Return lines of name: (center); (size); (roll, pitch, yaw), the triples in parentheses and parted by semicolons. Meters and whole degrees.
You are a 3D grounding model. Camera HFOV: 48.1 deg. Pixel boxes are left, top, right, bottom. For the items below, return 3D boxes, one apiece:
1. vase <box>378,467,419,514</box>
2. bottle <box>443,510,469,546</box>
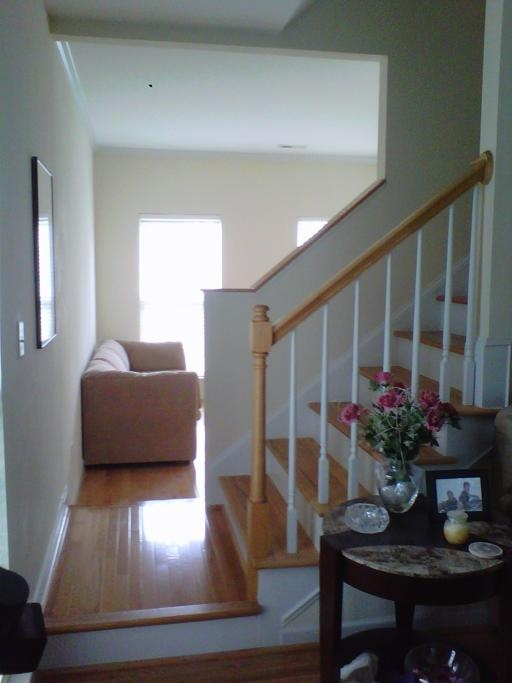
vase: (0.398, 0.384, 1.598); (0.116, 0.147, 0.120); (0, 8, 22)
bottle: (0.492, 0.458, 1.409); (0.064, 0.077, 0.071); (-2, -5, 43)
